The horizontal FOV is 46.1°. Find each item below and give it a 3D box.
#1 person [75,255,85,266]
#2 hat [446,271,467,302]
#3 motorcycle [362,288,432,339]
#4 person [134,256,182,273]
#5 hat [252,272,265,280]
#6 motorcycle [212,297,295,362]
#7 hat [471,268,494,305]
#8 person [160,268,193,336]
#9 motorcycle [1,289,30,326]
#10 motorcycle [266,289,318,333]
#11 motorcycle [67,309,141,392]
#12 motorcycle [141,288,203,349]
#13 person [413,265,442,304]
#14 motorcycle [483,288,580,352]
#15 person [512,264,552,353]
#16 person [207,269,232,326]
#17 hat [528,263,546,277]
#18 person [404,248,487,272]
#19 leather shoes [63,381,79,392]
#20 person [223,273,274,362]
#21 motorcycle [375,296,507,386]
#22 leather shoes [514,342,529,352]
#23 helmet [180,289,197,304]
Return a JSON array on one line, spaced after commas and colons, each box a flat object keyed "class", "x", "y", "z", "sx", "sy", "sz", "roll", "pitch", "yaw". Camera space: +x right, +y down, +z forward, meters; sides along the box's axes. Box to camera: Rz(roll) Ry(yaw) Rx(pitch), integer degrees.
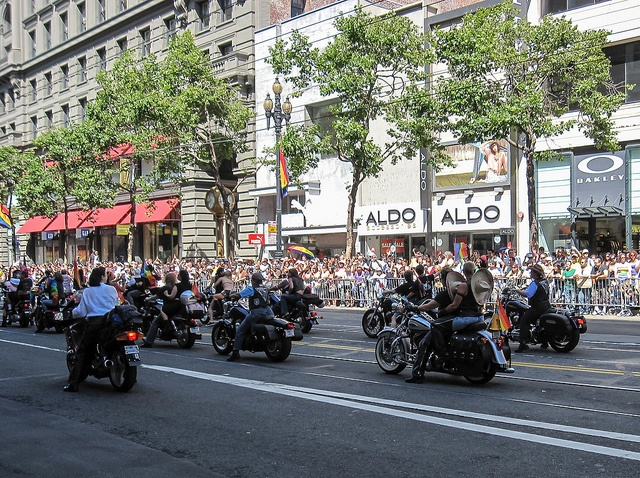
[{"class": "person", "x": -14.457, "y": 1.300, "z": 45.497, "sx": 0.848, "sy": 0.544, "sz": 0.479, "roll": 7, "pitch": 0, "yaw": 14}, {"class": "hat", "x": 2.654, "y": 0.923, "z": 14.714, "sx": 0.566, "sy": 0.606, "sz": 0.215, "roll": 0, "pitch": -8, "yaw": -8}, {"class": "motorcycle", "x": 2.153, "y": 1.877, "z": 20.086, "sx": 2.235, "sy": 1.476, "sz": 1.204, "roll": -5, "pitch": -11, "yaw": 33}, {"class": "person", "x": -7.797, "y": 1.229, "z": 36.590, "sx": 1.241, "sy": 0.719, "sz": 0.615, "roll": -4, "pitch": 2, "yaw": 1}, {"class": "hat", "x": -1.399, "y": 0.839, "z": 17.142, "sx": 0.195, "sy": 0.199, "sz": 0.363, "roll": 4, "pitch": 8, "yaw": 35}, {"class": "motorcycle", "x": -1.672, "y": 2.004, "z": 17.847, "sx": 1.173, "sy": 1.686, "sz": 2.881, "roll": -9, "pitch": 5, "yaw": -44}, {"class": "hat", "x": 3.163, "y": 0.889, "z": 14.774, "sx": 0.449, "sy": 0.687, "sz": 0.282, "roll": -2, "pitch": 8, "yaw": 1}, {"class": "person", "x": -3.659, "y": 1.553, "z": 19.147, "sx": 0.761, "sy": 1.582, "sz": 0.416, "roll": -2, "pitch": 7, "yaw": -12}, {"class": "motorcycle", "x": -10.344, "y": 2.402, "z": 25.551, "sx": 1.534, "sy": 1.157, "sz": 0.666, "roll": 5, "pitch": 9, "yaw": 43}, {"class": "motorcycle", "x": -0.935, "y": 1.978, "z": 21.109, "sx": 1.595, "sy": 0.947, "sz": 0.788, "roll": 4, "pitch": -1, "yaw": 27}, {"class": "motorcycle", "x": -4.211, "y": 2.088, "z": 14.632, "sx": 1.602, "sy": 1.670, "sz": 0.413, "roll": 1, "pitch": 7, "yaw": 15}, {"class": "motorcycle", "x": -4.004, "y": 2.014, "z": 19.662, "sx": 2.429, "sy": 1.446, "sz": 1.107, "roll": 1, "pitch": -3, "yaw": 40}, {"class": "person", "x": 2.855, "y": 1.227, "z": 20.010, "sx": 0.957, "sy": 1.168, "sz": 0.344, "roll": -3, "pitch": 12, "yaw": 11}, {"class": "motorcycle", "x": 5.066, "y": 1.831, "z": 18.439, "sx": 1.181, "sy": 1.549, "sz": 2.741, "roll": -2, "pitch": 2, "yaw": -45}, {"class": "person", "x": 5.109, "y": 1.609, "z": 17.969, "sx": 0.762, "sy": 2.100, "sz": 0.410, "roll": 0, "pitch": 7, "yaw": 8}, {"class": "person", "x": -2.636, "y": 1.353, "z": 19.902, "sx": 0.784, "sy": 0.975, "sz": 1.455, "roll": 3, "pitch": -2, "yaw": -12}, {"class": "hat", "x": 5.191, "y": 0.746, "z": 17.911, "sx": 0.254, "sy": 0.372, "sz": 0.541, "roll": 2, "pitch": 7, "yaw": 24}, {"class": "person", "x": 4.650, "y": 0.824, "z": 29.020, "sx": 2.164, "sy": 1.250, "sz": 0.923, "roll": 2, "pitch": 6, "yaw": 13}, {"class": "leather shoes", "x": -4.864, "y": 2.853, "z": 14.666, "sx": 0.267, "sy": 0.193, "sz": 0.140, "roll": 8, "pitch": -1, "yaw": 6}, {"class": "person", "x": -1.596, "y": 1.711, "z": 17.495, "sx": 1.043, "sy": 2.035, "sz": 1.139, "roll": 0, "pitch": -3, "yaw": -9}, {"class": "motorcycle", "x": 2.349, "y": 1.991, "z": 15.305, "sx": 2.987, "sy": 1.760, "sz": 1.363, "roll": 0, "pitch": -2, "yaw": 41}, {"class": "leather shoes", "x": 4.834, "y": 2.577, "z": 18.084, "sx": 0.360, "sy": 0.262, "sz": 0.134, "roll": -8, "pitch": 6, "yaw": 2}, {"class": "helmet", "x": -3.293, "y": 1.450, "z": 18.962, "sx": 0.358, "sy": 0.318, "sz": 0.269, "roll": -20, "pitch": 9, "yaw": 0}]
